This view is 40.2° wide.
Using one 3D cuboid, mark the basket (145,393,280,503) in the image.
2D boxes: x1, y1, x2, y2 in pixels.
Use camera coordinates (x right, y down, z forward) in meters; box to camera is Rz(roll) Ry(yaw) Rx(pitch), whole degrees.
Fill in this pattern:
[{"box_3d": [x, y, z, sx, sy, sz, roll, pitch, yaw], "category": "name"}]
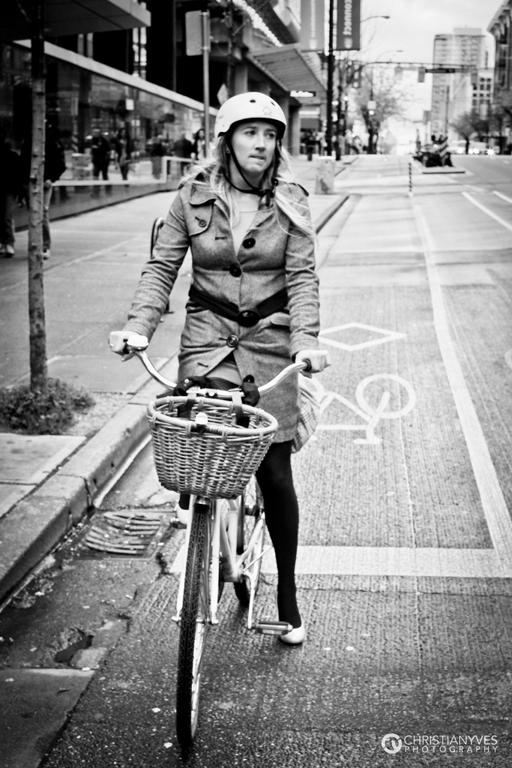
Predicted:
[{"box_3d": [-0.094, 0.138, 1.756, 0.265, 0.224, 0.309, 7, 9, 23], "category": "basket"}]
